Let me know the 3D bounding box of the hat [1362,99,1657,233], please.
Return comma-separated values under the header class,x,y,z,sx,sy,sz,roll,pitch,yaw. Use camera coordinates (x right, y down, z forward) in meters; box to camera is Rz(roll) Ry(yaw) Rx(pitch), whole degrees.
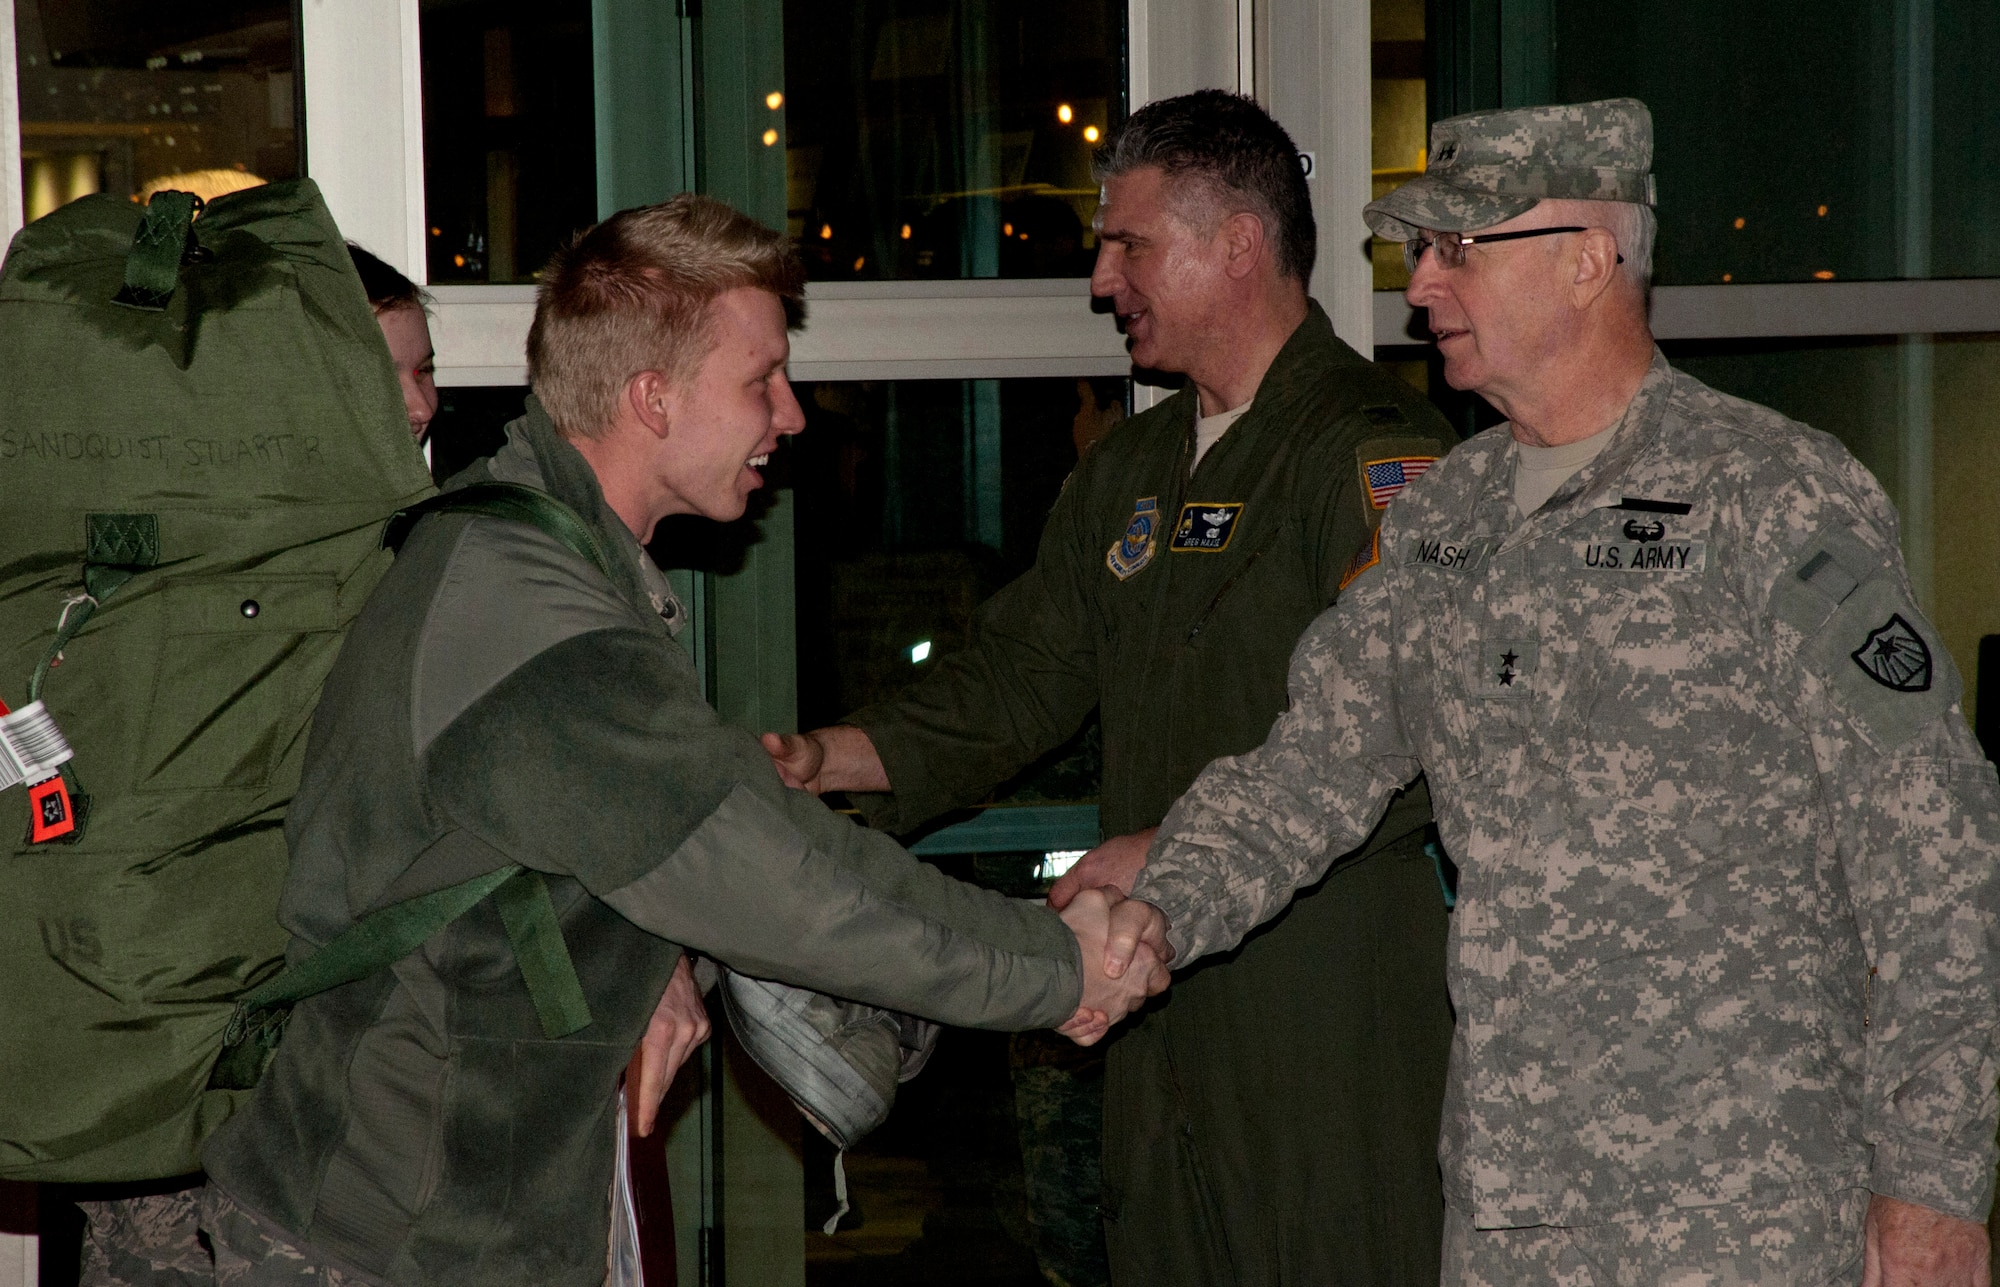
class,x,y,z,sx,sy,sz,roll,pitch,yaw
hat,0.800,-0.735,3.912,0.490,0.189,0.348,-7,-1,-20
